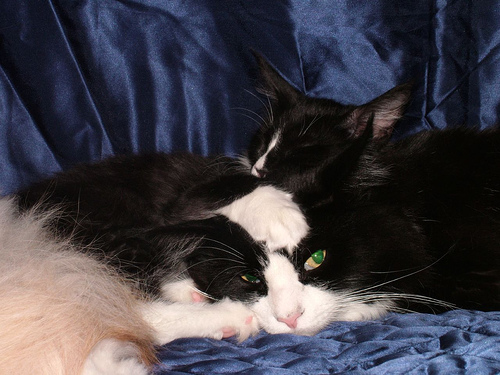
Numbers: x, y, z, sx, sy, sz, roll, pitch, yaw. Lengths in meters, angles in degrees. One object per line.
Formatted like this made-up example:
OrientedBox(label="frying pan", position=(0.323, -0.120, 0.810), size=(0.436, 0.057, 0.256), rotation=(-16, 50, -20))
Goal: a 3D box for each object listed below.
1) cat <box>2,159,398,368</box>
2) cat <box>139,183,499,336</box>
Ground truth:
OrientedBox(label="cat", position=(-0.249, 0.248, 2.058), size=(0.952, 0.234, 0.679), rotation=(17, 29, 21))
OrientedBox(label="cat", position=(0.303, 0.158, 2.032), size=(0.903, 0.259, 0.566), rotation=(-14, 10, -35))
